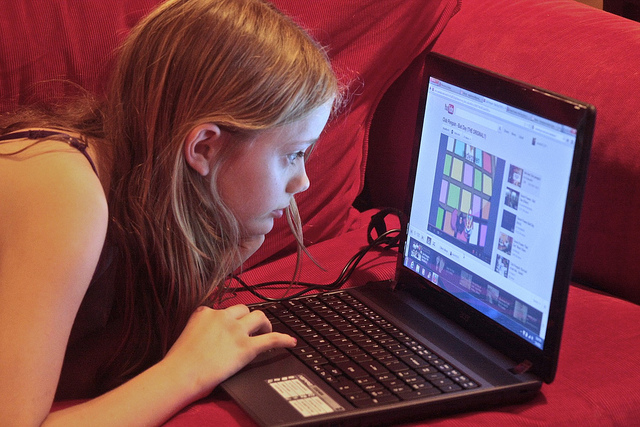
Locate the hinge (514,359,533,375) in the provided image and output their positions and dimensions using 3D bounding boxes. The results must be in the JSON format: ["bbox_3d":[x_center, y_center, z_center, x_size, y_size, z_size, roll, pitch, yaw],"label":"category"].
[{"bbox_3d":[0.333,0.252,0.920,0.020,0.013,0.026,-51,12,-25],"label":"hinge"}]
